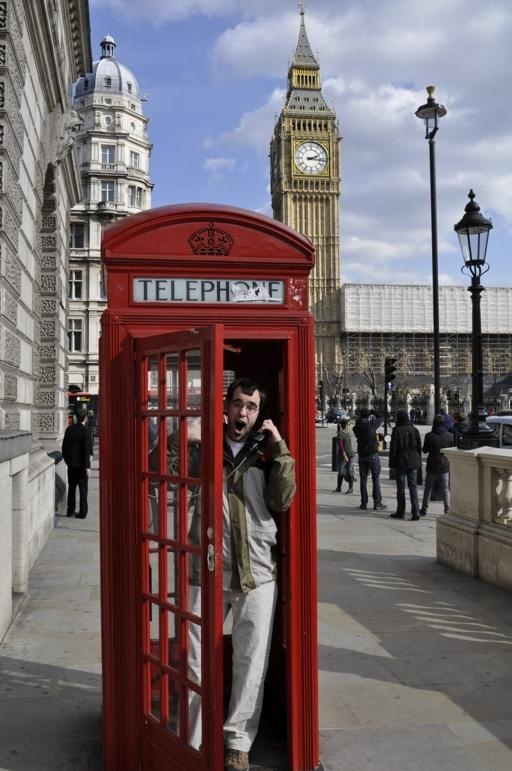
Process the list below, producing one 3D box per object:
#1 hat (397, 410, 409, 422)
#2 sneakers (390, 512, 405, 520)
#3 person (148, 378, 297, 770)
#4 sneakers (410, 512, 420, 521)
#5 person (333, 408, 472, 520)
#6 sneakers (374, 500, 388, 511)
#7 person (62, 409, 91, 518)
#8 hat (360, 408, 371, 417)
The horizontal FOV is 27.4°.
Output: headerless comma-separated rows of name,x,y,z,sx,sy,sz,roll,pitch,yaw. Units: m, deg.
hat,1.920,0.388,13.664,0.122,0.178,0.155,0,4,22
sneakers,1.853,1.690,13.702,0.070,0.112,0.221,1,2,-12
person,-0.090,0.897,5.009,0.658,1.868,0.393,2,-3,-34
sneakers,2.062,1.672,13.488,0.055,0.146,0.183,1,6,0
person,2.051,1.163,15.147,1.137,1.758,0.575,0,4,16
sneakers,1.770,1.705,14.847,0.088,0.197,0.231,4,10,43
person,-2.294,0.989,13.468,0.362,1.402,1.733,1,-3,-10
hat,1.591,0.382,15.103,0.092,0.168,0.146,5,-14,-2
